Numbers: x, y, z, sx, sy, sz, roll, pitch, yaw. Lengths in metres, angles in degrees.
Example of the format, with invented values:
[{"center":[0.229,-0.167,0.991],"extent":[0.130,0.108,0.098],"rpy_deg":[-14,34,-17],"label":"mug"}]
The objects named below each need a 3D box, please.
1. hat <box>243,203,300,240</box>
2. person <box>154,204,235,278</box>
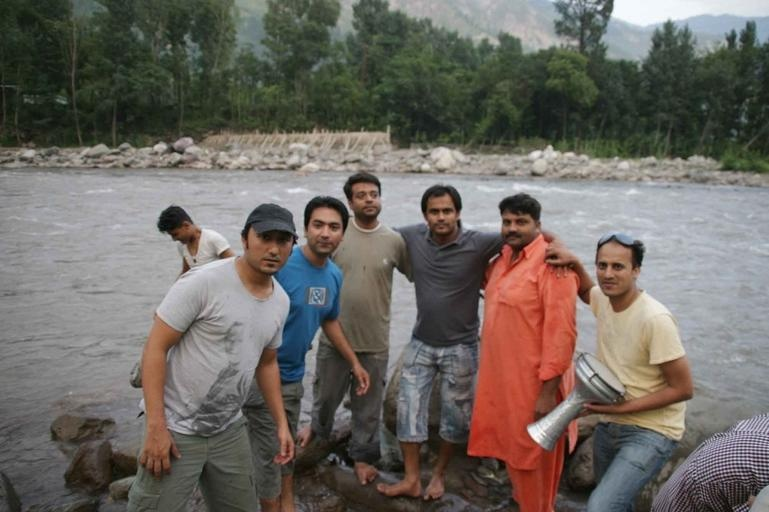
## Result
[{"center":[-1.115,-0.351,6.211],"extent":[0.489,0.339,0.651],"rpy_deg":[7,-6,-23],"label":"hat"},{"center":[-2.492,-0.151,8.509],"extent":[0.871,1.086,0.604],"rpy_deg":[-13,10,11],"label":"person"}]
